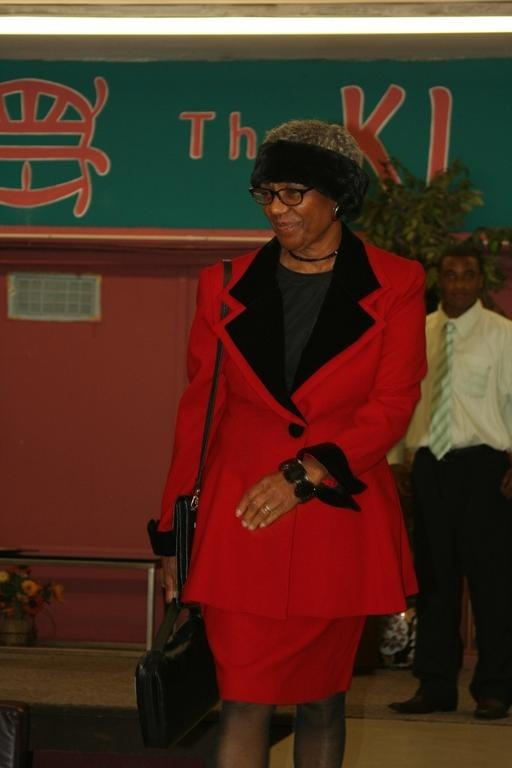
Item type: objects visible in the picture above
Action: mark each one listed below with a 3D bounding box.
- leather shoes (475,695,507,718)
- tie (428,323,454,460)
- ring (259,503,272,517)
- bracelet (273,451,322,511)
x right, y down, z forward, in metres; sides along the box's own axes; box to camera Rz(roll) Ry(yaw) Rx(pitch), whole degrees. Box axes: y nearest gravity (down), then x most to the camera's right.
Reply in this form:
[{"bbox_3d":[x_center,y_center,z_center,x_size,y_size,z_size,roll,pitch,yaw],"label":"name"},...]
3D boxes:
[{"bbox_3d":[1.103,1.512,3.779,0.159,0.081,0.107,-2,2,13],"label":"leather shoes"},{"bbox_3d":[0.954,0.071,4.149,0.136,0.072,0.865,2,34,11],"label":"tie"},{"bbox_3d":[0.019,0.235,1.509,0.019,0.021,0.009,0,-5,6],"label":"ring"},{"bbox_3d":[0.088,0.180,1.499,0.078,0.091,0.045,8,48,0],"label":"bracelet"}]
